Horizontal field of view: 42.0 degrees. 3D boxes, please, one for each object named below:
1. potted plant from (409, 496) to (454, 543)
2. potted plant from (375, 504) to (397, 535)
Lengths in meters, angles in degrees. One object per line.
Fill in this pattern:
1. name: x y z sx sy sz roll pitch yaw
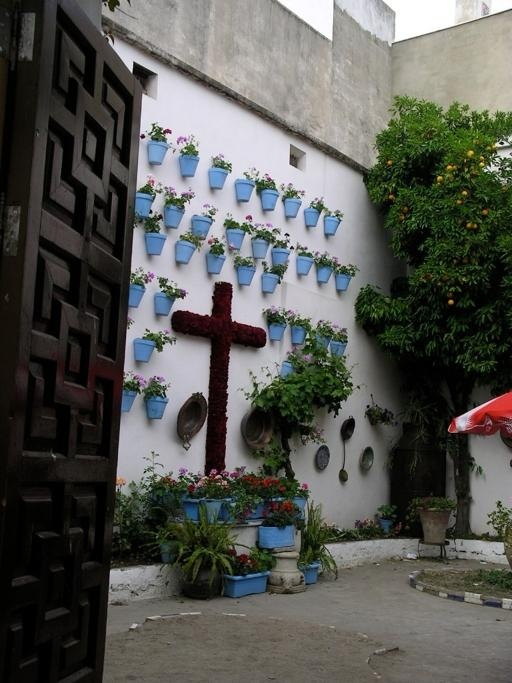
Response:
1. potted plant: 2.554 2.607 9.605 0.547 0.651 0.565 0 -8 8
2. potted plant: 1.983 2.722 10.127 0.301 0.406 0.370 2 -10 8
